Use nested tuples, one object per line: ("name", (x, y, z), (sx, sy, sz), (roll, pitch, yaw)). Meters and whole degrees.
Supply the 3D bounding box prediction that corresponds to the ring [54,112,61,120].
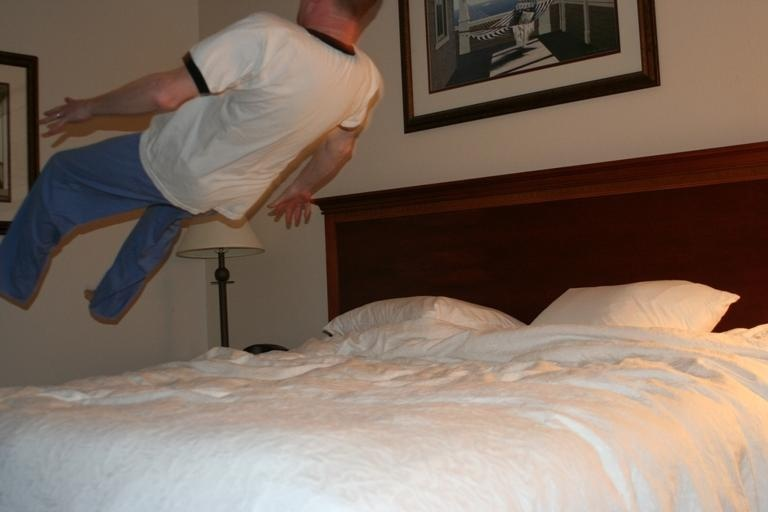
("ring", (-1.083, -0.463, 2.018), (0.026, 0.016, 0.012), (-4, 7, -4))
